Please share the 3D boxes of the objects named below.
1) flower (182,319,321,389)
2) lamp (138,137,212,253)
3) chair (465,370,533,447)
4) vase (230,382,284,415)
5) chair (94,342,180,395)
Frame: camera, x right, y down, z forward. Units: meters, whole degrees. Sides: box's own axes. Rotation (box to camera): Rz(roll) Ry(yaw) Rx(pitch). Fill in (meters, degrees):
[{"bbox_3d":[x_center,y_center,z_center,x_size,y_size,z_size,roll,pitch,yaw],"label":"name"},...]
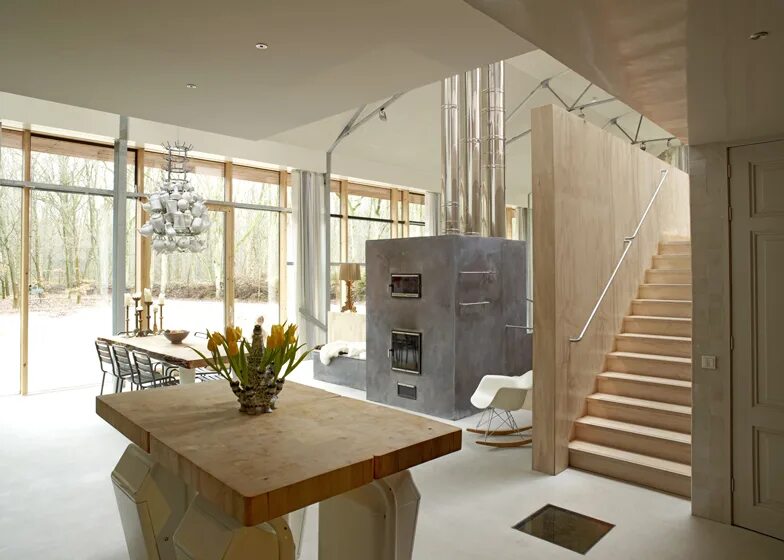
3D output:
[{"bbox_3d":[-0.954,0.490,3.458,0.715,0.389,0.584,-4,2,-17],"label":"flower"},{"bbox_3d":[-3.071,-1.182,7.444,0.812,1.606,2.224,-3,7,-24],"label":"lamp"},{"bbox_3d":[1.279,1.476,6.218,0.809,0.997,0.758,1,-6,-13],"label":"chair"},{"bbox_3d":[-0.866,0.700,3.386,0.234,0.161,0.234,0,1,-34],"label":"vase"},{"bbox_3d":[-3.107,1.069,6.525,0.302,0.547,0.774,-5,6,-42],"label":"chair"}]
